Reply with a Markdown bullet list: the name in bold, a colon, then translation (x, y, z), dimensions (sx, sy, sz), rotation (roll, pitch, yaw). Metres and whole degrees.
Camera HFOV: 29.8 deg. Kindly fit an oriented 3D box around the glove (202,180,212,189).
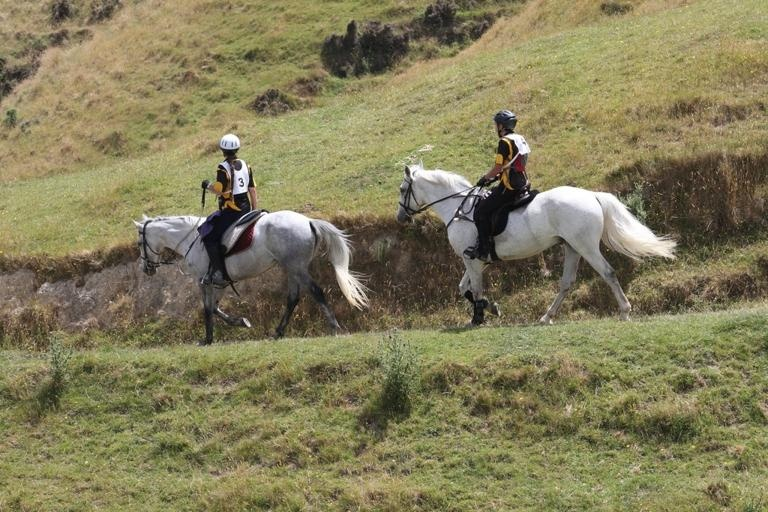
- **glove**: translation (-8.427, -3.421, 68.612), dimensions (0.340, 0.383, 0.439), rotation (3, -1, 16)
